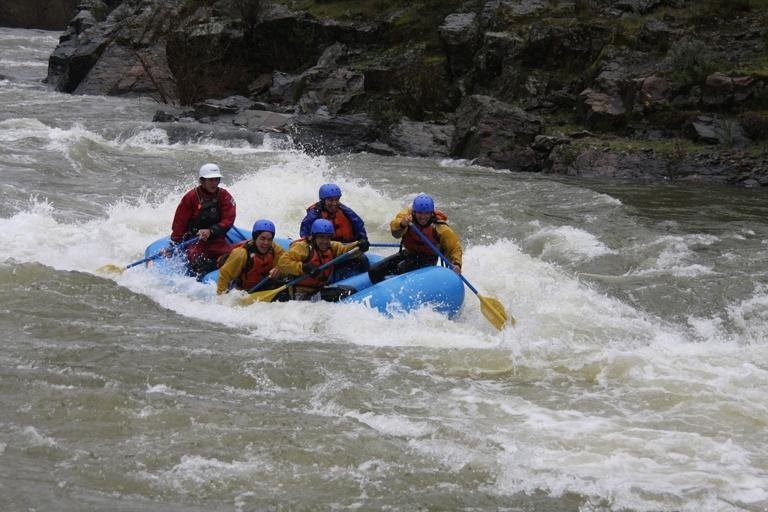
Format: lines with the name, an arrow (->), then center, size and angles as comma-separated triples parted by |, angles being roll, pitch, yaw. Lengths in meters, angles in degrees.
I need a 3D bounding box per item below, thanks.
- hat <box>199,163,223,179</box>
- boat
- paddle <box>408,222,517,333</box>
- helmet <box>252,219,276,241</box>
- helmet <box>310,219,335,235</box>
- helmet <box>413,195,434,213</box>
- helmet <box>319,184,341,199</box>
hat -> -4.211, -2.038, 25.920 | 0.599, 0.295, 0.765 | -3, -2, -35
boat -> -1.600, 0.693, 25.067 | 6.248, 0.876, 2.622 | 7, 3, 15
paddle -> 1.742, 0.597, 25.186 | 3.865, 0.670, 0.163 | 37, -4, 25
helmet -> -2.702, -0.613, 24.824 | 0.492, 0.422, 0.533 | 5, -17, -22
helmet -> -1.362, -0.665, 24.852 | 0.518, 0.285, 0.342 | -6, 2, 19
helmet -> 0.880, -1.227, 25.235 | 0.446, 0.360, 0.482 | 4, 27, 0
helmet -> -1.169, -1.508, 25.527 | 0.504, 0.344, 0.358 | 3, 6, 32
